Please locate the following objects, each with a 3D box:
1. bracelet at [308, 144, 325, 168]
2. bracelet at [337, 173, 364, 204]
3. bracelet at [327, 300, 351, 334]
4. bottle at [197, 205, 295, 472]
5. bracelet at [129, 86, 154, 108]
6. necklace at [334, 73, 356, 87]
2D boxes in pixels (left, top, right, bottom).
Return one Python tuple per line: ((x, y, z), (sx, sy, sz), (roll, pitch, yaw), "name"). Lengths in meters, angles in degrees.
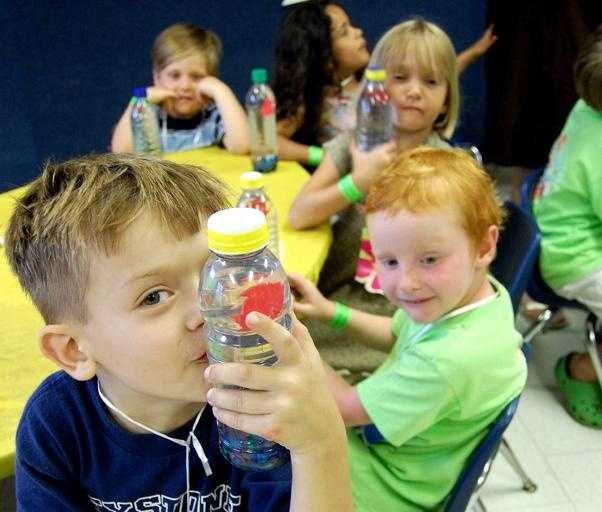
((0.045, -0.418, 2.588), (0.095, 0.098, 0.122), (7, 15, 1), "bracelet")
((0.150, -0.224, 2.131), (0.089, 0.066, 0.088), (-1, 42, 42), "bracelet")
((0.111, 0.192, 1.986), (0.076, 0.068, 0.074), (2, 10, 5), "bracelet")
((-0.107, 0.170, 1.197), (0.172, 0.555, 0.180), (-2, 27, 1), "bottle")
((-0.553, -0.552, 2.143), (0.069, 0.068, 0.047), (20, 46, 15), "bracelet")
((0.166, -0.671, 2.397), (0.043, 0.011, 0.045), (-26, -9, 29), "necklace")
